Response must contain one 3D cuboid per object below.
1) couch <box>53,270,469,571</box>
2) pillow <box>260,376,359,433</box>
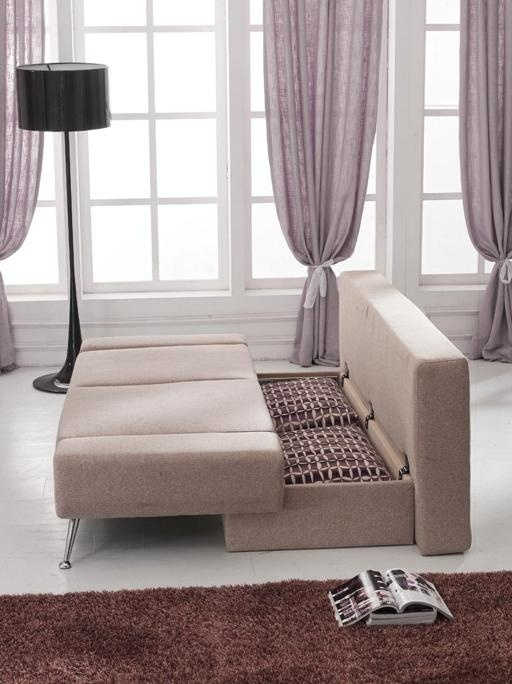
[{"bbox_3d":[-0.012,0.199,2.529,1.448,0.856,1.457,0,5,3],"label":"couch"},{"bbox_3d":[0.215,0.272,2.588,0.210,0.077,0.264,-3,23,-8],"label":"pillow"}]
